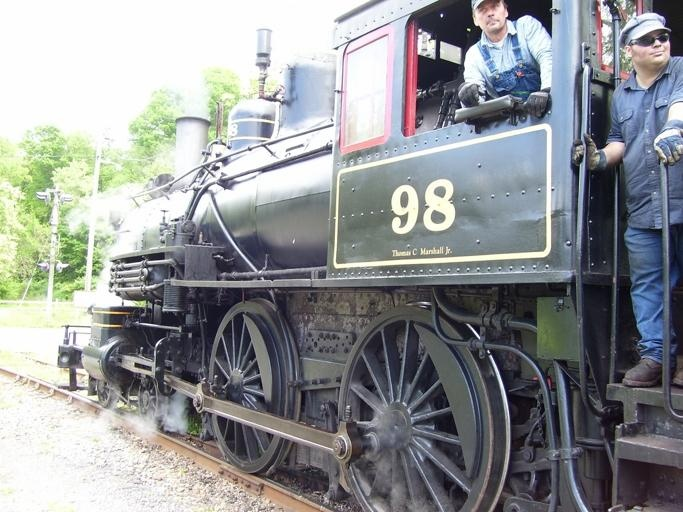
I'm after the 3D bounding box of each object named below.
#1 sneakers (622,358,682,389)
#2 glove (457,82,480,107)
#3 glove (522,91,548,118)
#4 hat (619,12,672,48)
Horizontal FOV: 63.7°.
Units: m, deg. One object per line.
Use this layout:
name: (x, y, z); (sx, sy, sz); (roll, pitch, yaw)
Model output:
sneakers: (1.757, 0.671, 3.121); (0.372, 0.188, 0.143); (1, -6, -4)
glove: (0.793, -1.006, 3.424); (0.105, 0.164, 0.052); (-8, -13, 43)
glove: (1.144, -0.893, 3.230); (0.141, 0.126, 0.068); (-1, 0, 21)
hat: (1.742, -1.312, 3.218); (0.178, 0.098, 0.228); (-10, 4, 1)
